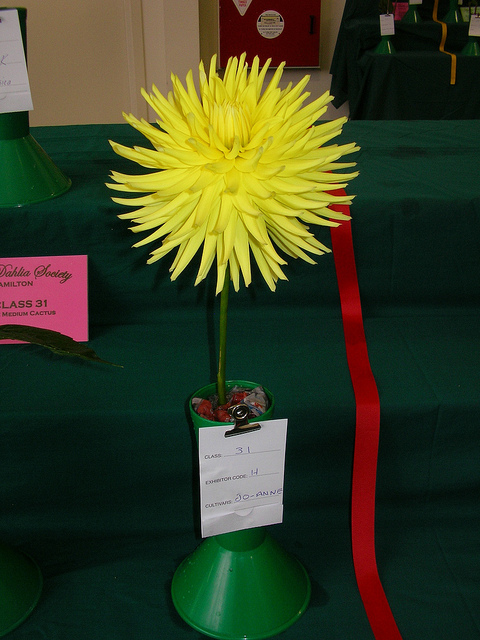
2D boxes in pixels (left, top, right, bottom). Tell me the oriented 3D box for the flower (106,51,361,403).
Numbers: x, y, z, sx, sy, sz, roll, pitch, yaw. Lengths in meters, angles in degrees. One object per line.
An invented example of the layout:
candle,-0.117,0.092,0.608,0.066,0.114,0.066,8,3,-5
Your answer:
flower,0.003,-0.060,0.431,0.169,0.295,0.215,6,21,13
